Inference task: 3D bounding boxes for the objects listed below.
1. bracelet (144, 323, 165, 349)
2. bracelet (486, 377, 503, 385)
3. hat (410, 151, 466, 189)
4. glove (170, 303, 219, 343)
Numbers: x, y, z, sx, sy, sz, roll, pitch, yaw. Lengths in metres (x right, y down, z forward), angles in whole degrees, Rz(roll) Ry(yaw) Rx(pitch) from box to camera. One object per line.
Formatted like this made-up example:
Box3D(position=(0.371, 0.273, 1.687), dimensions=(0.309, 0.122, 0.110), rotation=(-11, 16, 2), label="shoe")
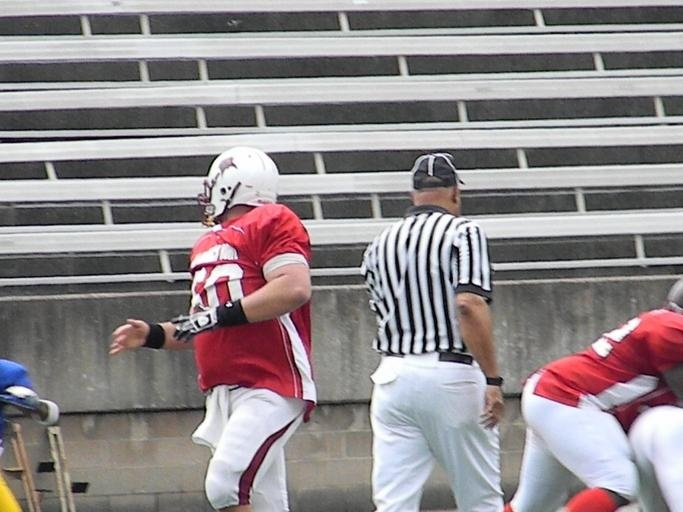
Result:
Box3D(position=(-1.428, 0.596, 16.993), dimensions=(0.173, 0.184, 0.147), rotation=(7, -7, -31), label="bracelet")
Box3D(position=(1.134, 0.915, 16.671), dimensions=(0.077, 0.031, 0.076), rotation=(6, -1, 23), label="bracelet")
Box3D(position=(0.710, -0.721, 17.250), dimensions=(0.414, 0.220, 0.561), rotation=(1, 17, 5), label="hat")
Box3D(position=(-1.107, 0.490, 16.683), dimensions=(0.386, 0.238, 0.162), rotation=(-4, -6, 9), label="glove")
